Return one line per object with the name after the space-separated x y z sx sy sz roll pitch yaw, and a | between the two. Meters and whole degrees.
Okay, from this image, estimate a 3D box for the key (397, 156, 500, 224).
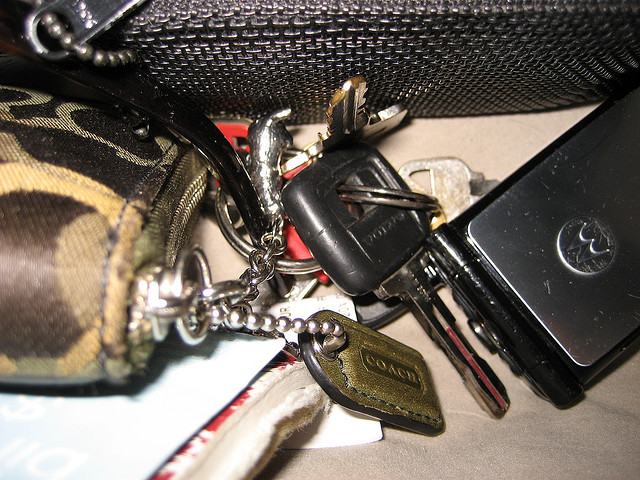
0.178 -0.092 0.762 0.164 0.091 0.094 2 32 10 | key

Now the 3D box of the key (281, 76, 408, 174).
0.027 -0.151 0.734 0.112 0.021 0.192 -29 0 -16 | key
